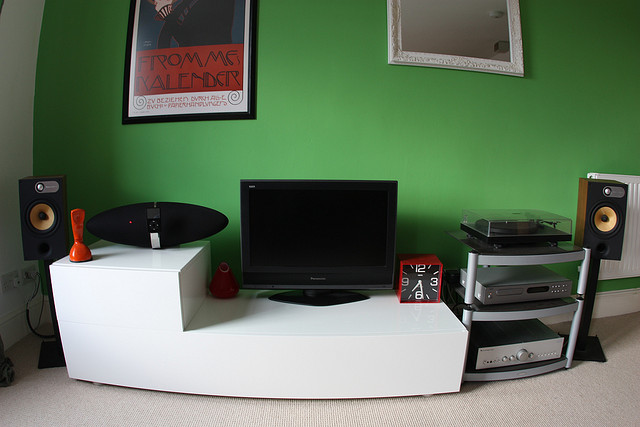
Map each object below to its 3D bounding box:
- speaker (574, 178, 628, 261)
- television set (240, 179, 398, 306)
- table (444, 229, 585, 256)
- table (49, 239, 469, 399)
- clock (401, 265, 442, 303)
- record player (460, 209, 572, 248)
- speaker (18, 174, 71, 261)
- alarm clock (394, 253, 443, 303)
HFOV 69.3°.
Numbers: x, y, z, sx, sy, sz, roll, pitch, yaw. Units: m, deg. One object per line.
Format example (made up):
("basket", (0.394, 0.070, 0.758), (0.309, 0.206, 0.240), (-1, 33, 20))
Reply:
("speaker", (1.999, 0.037, 3.308), (0.313, 0.519, 0.326), (1, 5, -8))
("television set", (-0.009, 0.199, 3.221), (1.078, 0.838, 0.402), (0, 3, -6))
("table", (1.354, 0.203, 3.201), (0.876, 0.097, 0.372), (2, 11, 3))
("table", (-0.439, 0.718, 3.092), (2.565, 0.897, 0.401), (2, 11, 3))
("clock", (0.691, 0.476, 3.198), (0.275, 0.259, 0.147), (1, -1, 0))
("record player", (1.377, 0.049, 3.250), (0.649, 0.267, 0.595), (1, 7, -5))
("speaker", (-1.916, 0.005, 3.225), (0.356, 0.529, 0.350), (-11, 15, -40))
("alarm clock", (0.692, 0.467, 3.288), (0.283, 0.345, 0.174), (5, 13, 5))
